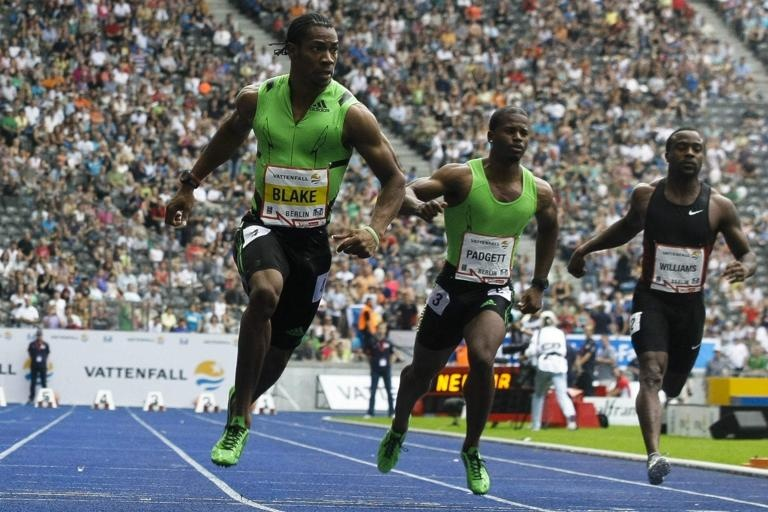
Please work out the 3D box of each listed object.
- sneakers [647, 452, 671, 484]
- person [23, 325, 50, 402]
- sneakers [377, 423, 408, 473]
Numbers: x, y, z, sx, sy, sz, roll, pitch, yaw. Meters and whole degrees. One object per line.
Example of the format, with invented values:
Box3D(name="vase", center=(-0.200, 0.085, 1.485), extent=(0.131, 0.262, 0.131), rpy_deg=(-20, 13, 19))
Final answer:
Box3D(name="sneakers", center=(3.416, 2.635, 14.971), extent=(0.209, 0.445, 0.224), rpy_deg=(-3, 24, -16))
Box3D(name="person", center=(-6.894, 2.200, 24.209), extent=(0.394, 1.506, 0.409), rpy_deg=(2, -3, -12))
Box3D(name="sneakers", center=(0.100, 2.534, 15.634), extent=(0.261, 0.666, 0.291), rpy_deg=(14, 9, 0))
